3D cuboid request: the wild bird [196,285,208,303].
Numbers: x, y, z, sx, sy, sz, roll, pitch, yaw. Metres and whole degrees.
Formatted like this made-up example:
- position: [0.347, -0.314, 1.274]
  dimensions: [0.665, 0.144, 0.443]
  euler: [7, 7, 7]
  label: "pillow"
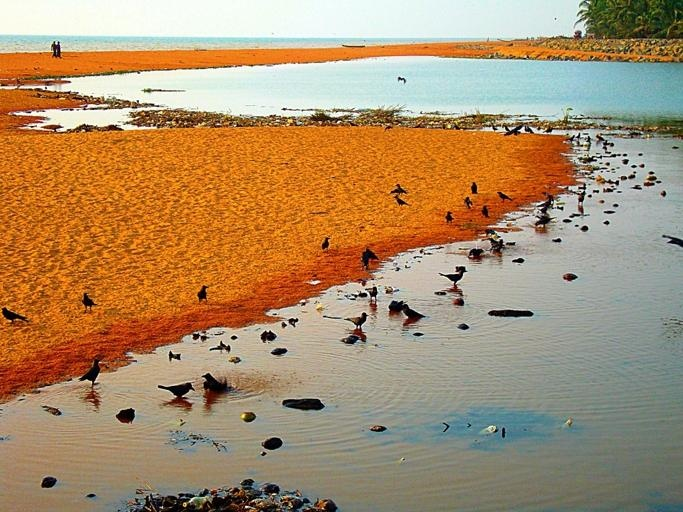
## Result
- position: [-3.317, 0.833, 22.063]
  dimensions: [0.242, 0.384, 0.652]
  euler: [1, 20, -9]
  label: "wild bird"
